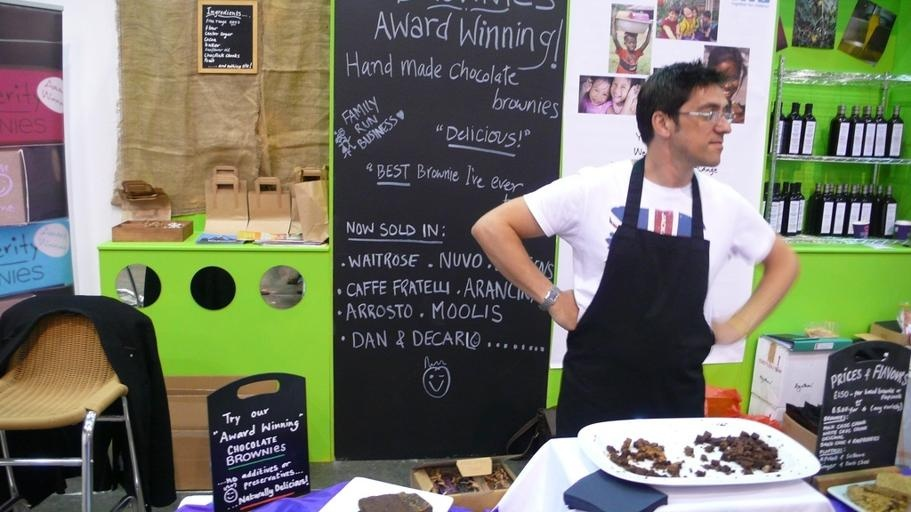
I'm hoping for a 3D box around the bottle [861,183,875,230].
[{"bbox_3d":[3.358,-0.424,5.472,0.084,0.309,0.240,5,9,31],"label":"bottle"}]

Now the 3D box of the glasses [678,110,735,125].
[{"bbox_3d":[1.351,-0.739,3.558,0.320,0.061,0.082,-3,8,-24],"label":"glasses"}]

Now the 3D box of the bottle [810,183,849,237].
[{"bbox_3d":[3.023,-0.371,5.427,0.262,0.408,0.129,4,9,27],"label":"bottle"}]

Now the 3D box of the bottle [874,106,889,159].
[{"bbox_3d":[3.374,-0.984,5.328,0.121,0.402,0.085,-5,10,-35],"label":"bottle"}]

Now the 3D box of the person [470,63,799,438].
[{"bbox_3d":[0.996,-0.017,3.633,1.653,2.036,0.460,2,8,8],"label":"person"}]

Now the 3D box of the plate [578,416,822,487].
[{"bbox_3d":[1.147,0.920,3.203,0.757,0.074,0.473,-1,15,-1],"label":"plate"}]

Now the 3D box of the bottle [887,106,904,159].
[{"bbox_3d":[3.532,-0.988,5.380,0.108,0.398,0.276,6,9,33],"label":"bottle"}]

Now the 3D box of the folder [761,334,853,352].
[{"bbox_3d":[2.606,0.646,5.006,0.309,0.062,0.288,-2,5,-18],"label":"folder"}]

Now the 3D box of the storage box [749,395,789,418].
[{"bbox_3d":[2.393,1.163,5.141,0.165,0.195,0.216,7,17,7],"label":"storage box"}]

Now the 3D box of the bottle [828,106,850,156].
[{"bbox_3d":[3.066,-0.997,5.350,0.147,0.412,0.286,4,9,27],"label":"bottle"}]

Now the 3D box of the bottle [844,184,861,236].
[{"bbox_3d":[3.216,-0.334,5.418,0.090,0.335,0.078,-6,10,-40],"label":"bottle"}]

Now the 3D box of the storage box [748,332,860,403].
[{"bbox_3d":[2.712,0.880,5.323,0.749,0.485,0.392,2,7,-28],"label":"storage box"}]

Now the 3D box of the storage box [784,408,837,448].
[{"bbox_3d":[2.333,1.097,4.336,0.270,0.260,0.280,-20,-13,13],"label":"storage box"}]

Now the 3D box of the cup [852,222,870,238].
[{"bbox_3d":[3.247,-0.211,5.379,0.136,0.099,0.122,-3,8,-12],"label":"cup"}]

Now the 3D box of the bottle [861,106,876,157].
[{"bbox_3d":[3.295,-0.988,5.340,0.120,0.392,0.081,-1,8,-11],"label":"bottle"}]

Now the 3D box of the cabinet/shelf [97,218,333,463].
[{"bbox_3d":[-1.807,0.585,5.015,1.580,1.337,0.546,2,4,-17],"label":"cabinet/shelf"}]
